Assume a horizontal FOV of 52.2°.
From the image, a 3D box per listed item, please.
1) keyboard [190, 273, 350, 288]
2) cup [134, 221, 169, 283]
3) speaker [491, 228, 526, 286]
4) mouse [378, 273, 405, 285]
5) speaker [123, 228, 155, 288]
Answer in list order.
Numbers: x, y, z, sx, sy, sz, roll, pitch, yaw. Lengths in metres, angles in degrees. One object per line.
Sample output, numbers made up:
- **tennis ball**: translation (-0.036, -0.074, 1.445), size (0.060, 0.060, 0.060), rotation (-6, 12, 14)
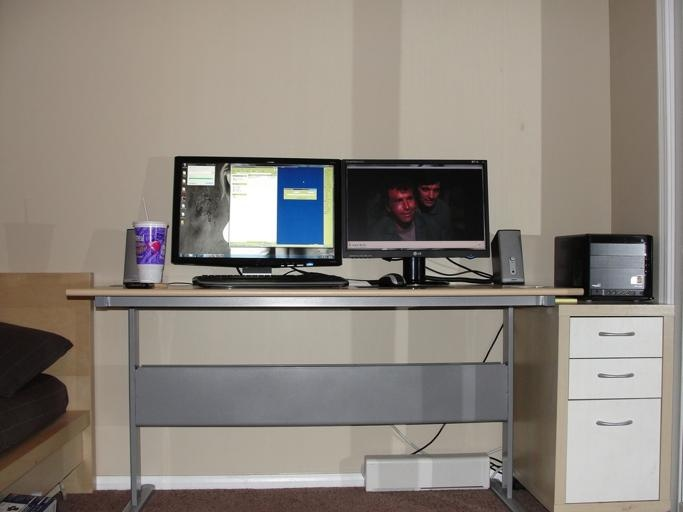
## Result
- **keyboard**: translation (-0.335, 0.117, 3.266), size (0.723, 0.066, 0.210), rotation (0, 3, -7)
- **cup**: translation (-0.931, -0.008, 3.373), size (0.183, 0.292, 0.195), rotation (-1, -3, 0)
- **speaker**: translation (0.876, -0.011, 3.489), size (0.162, 0.274, 0.141), rotation (-12, 11, -41)
- **mouse**: translation (0.238, 0.115, 3.371), size (0.114, 0.059, 0.172), rotation (0, 3, -12)
- **speaker**: translation (-0.990, 0.005, 3.497), size (0.182, 0.303, 0.200), rotation (-6, -7, 34)
